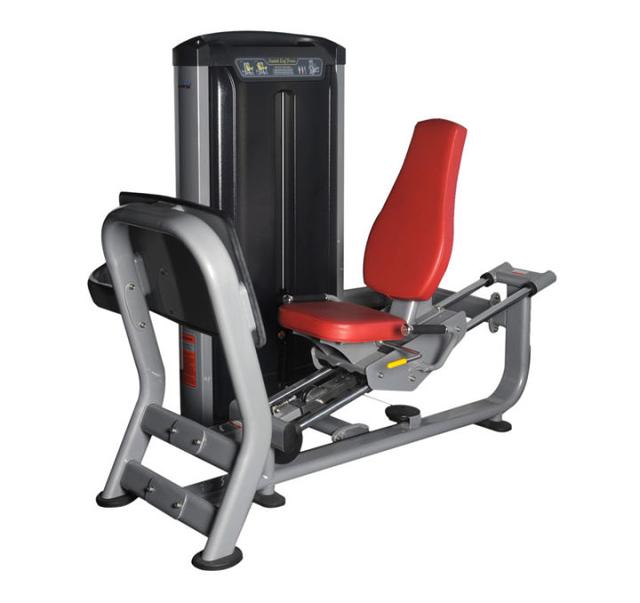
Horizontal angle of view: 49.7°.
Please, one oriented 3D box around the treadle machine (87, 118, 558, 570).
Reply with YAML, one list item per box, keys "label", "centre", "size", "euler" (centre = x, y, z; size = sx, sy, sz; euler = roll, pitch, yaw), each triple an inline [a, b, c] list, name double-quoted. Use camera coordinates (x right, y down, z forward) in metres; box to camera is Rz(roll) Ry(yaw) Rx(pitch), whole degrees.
- label: "treadle machine"
  centre: [0.132, 0.071, 2.685]
  size: [2.024, 1.122, 0.831]
  euler: [-12, 12, -39]
